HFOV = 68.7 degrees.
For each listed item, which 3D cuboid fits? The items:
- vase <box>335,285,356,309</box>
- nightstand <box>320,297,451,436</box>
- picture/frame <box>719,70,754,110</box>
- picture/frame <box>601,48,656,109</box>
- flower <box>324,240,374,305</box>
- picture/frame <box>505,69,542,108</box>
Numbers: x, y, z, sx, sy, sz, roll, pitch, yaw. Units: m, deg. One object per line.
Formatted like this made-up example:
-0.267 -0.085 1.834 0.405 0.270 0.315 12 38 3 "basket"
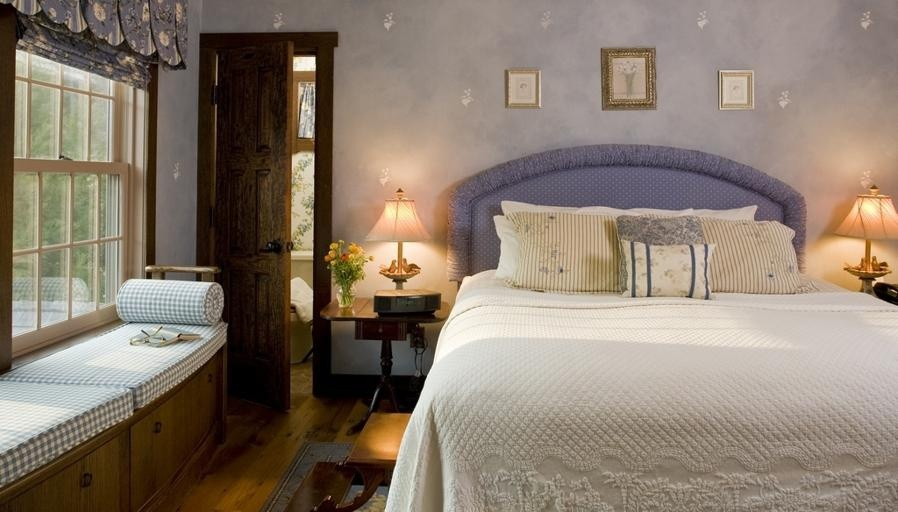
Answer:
-0.899 0.341 5.438 0.173 0.197 0.175 0 -8 13 "vase"
-0.482 0.881 5.551 1.056 0.941 1.042 0 -1 1 "nightstand"
2.412 -1.415 5.511 0.340 0.368 0.029 0 3 1 "picture/frame"
1.527 -1.521 5.538 0.531 0.568 0.076 0 2 1 "picture/frame"
-0.841 0.133 5.359 0.515 0.657 0.506 0 -1 -4 "flower"
0.638 -1.432 5.559 0.334 0.320 0.036 0 2 -2 "picture/frame"
